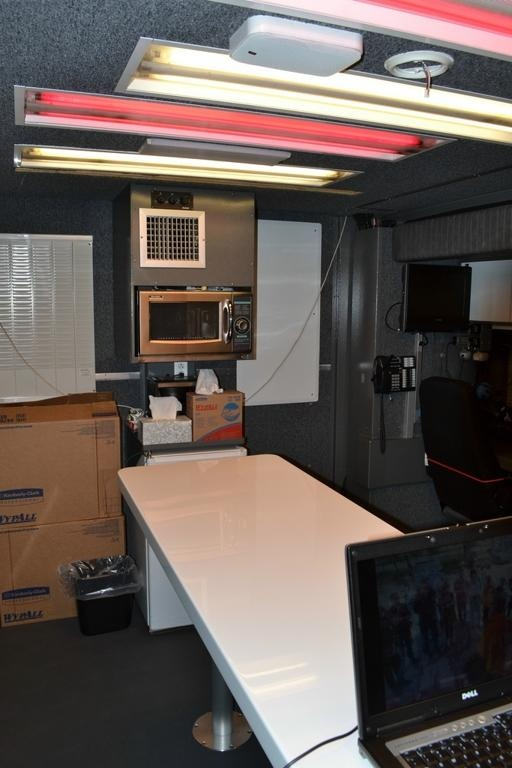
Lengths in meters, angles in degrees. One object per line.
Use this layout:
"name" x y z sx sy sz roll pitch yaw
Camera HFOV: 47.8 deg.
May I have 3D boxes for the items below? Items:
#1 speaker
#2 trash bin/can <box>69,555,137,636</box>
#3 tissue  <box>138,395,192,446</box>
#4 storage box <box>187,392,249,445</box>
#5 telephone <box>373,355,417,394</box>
"speaker" 1.150 -0.539 3.635 0.580 0.411 0.141 -6 8 -34
"trash bin/can" -0.706 0.944 2.718 0.328 0.293 0.290 -1 10 -8
"tissue " -0.476 0.187 3.045 0.263 0.237 0.203 -4 7 -18
"storage box" -0.220 0.180 3.141 0.277 0.259 0.150 -1 2 -15
"telephone" 0.887 -0.090 3.759 0.239 0.264 0.250 -1 9 -13
